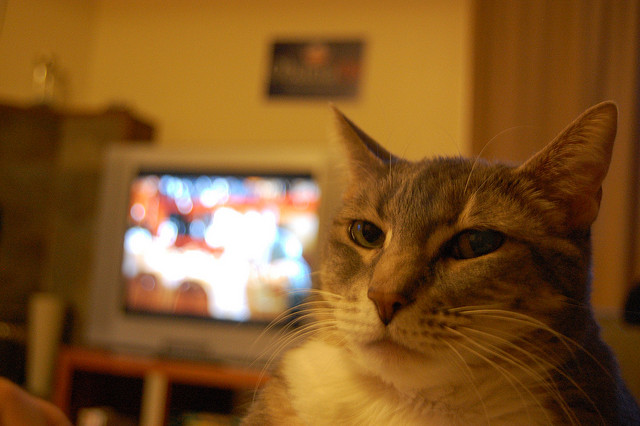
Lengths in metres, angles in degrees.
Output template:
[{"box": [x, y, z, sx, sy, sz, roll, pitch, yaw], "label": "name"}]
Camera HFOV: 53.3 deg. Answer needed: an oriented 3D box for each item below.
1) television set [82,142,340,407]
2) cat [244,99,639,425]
[{"box": [-0.351, 0.172, 2.464, 0.847, 0.765, 0.475, 4, -3, -1], "label": "television set"}, {"box": [0.451, 0.299, 2.102, 0.870, 0.933, 1.004, 4, -23, 15], "label": "cat"}]
